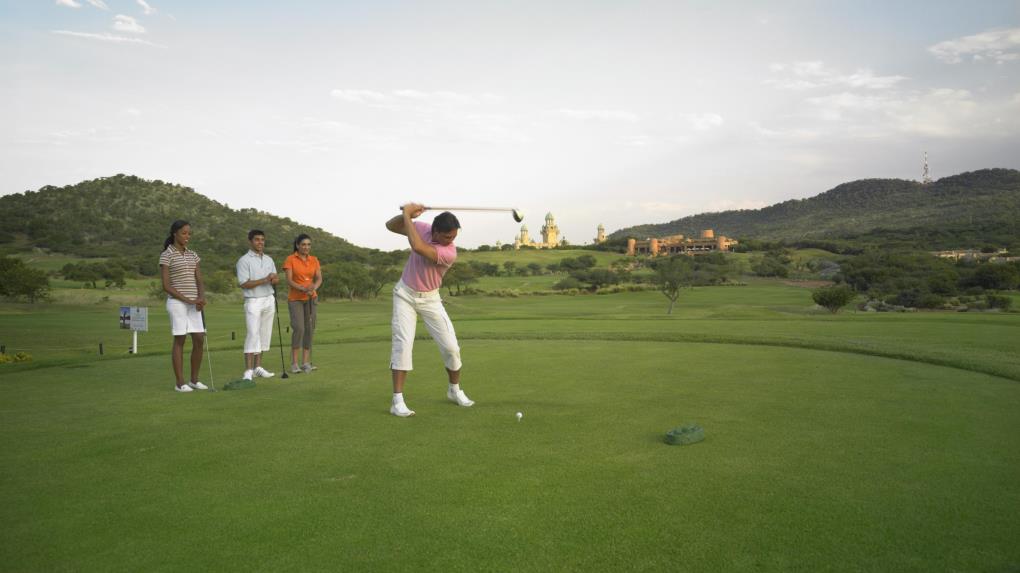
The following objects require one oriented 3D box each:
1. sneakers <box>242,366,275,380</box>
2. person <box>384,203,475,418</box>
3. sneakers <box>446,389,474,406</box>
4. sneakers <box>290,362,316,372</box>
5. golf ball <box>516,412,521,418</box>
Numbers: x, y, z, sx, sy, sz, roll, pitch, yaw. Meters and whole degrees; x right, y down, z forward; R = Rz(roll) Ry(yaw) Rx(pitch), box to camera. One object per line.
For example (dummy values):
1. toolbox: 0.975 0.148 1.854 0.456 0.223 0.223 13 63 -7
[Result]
1. sneakers: -4.904 1.710 11.857 0.663 0.210 0.237 0 -4 -6
2. person: -1.373 0.293 9.767 1.268 3.271 1.513 1 5 18
3. sneakers: -0.800 1.814 9.854 0.439 0.150 0.214 3 3 30
4. sneakers: -4.339 1.684 12.576 0.400 0.134 0.208 -5 -4 18
5. golf ball: 0.140 1.953 9.141 0.064 0.049 0.060 0 0 0
